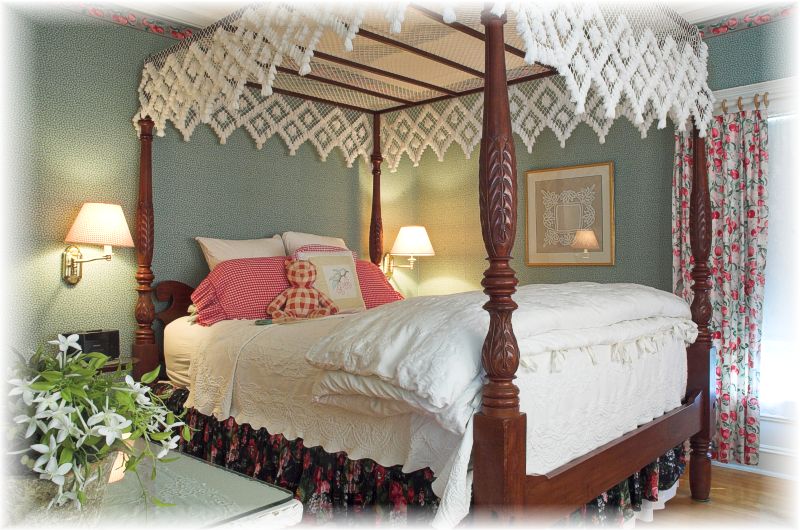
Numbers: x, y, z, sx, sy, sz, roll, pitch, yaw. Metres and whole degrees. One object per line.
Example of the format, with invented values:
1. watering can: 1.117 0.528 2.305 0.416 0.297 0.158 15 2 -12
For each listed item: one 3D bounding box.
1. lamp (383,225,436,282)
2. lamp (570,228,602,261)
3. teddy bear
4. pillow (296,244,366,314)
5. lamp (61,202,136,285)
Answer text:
1. lamp: 0.087 -0.129 6.204 0.510 0.622 0.620 2 -4 -45
2. lamp: 1.729 -0.202 5.247 0.253 0.261 0.256 -1 6 13
3. teddy bear: -0.738 0.196 4.194 0.481 0.526 0.310 -1 -2 -19
4. pillow: -0.495 0.105 4.428 0.532 0.493 0.142 7 -23 -37
5. lamp: -2.210 -0.156 4.095 0.303 0.598 0.399 1 3 39
